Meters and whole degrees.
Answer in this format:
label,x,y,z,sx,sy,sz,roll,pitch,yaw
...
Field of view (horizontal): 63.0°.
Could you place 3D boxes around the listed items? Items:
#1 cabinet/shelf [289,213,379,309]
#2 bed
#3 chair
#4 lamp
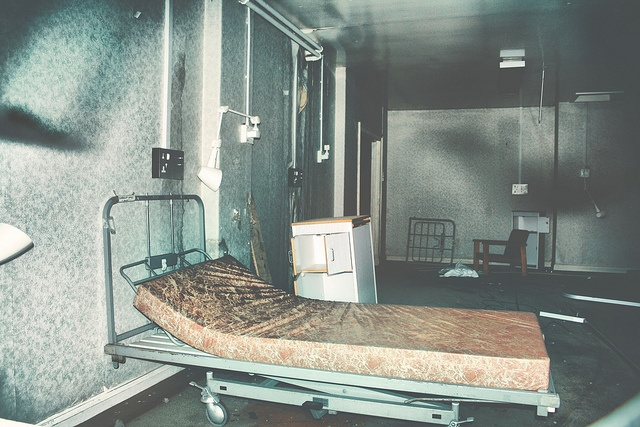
label,x,y,z,sx,sy,sz,roll,pitch,yaw
cabinet/shelf,0.143,0.604,5.549,0.717,1.174,0.951,2,12,29
bed,0.179,0.541,4.421,3.055,1.904,1.743,0,5,15
chair,2.889,0.601,8.368,0.761,0.827,0.765,1,-4,-2
lamp,-0.797,-0.577,4.753,0.360,0.777,1.044,3,14,13
